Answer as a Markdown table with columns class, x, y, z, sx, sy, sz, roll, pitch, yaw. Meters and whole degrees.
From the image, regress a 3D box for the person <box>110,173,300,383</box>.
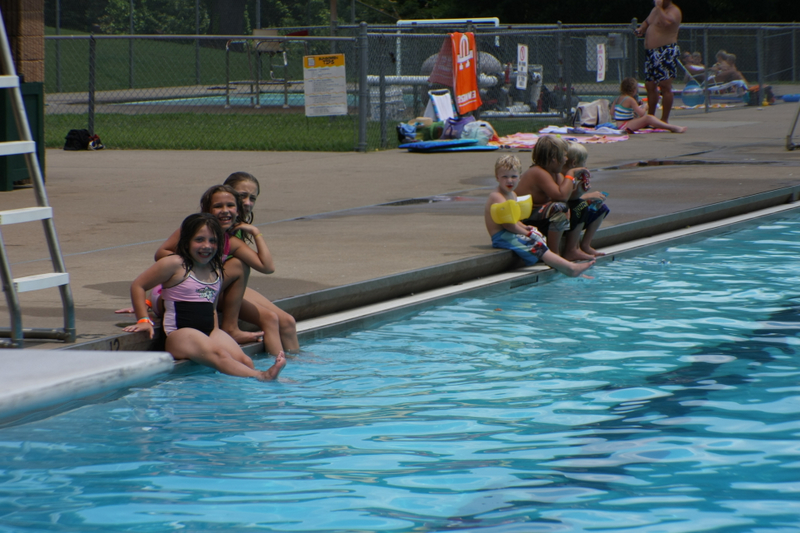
| class | x | y | z | sx | sy | sz | roll | pitch | yaw |
| --- | --- | --- | --- | --- | --- | --- | --- | --- | --- |
| person | -1.149 | 0.039 | 5.768 | 1.526 | 0.948 | 1.025 | 22 | 20 | 27 |

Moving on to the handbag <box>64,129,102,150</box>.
| class | x | y | z | sx | sy | sz | roll | pitch | yaw |
| --- | --- | --- | --- | --- | --- | --- | --- | --- | --- |
| handbag | -5.661 | -2.247 | 15.856 | 0.498 | 0.211 | 0.556 | 0 | 9 | 6 |

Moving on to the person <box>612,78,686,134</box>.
| class | x | y | z | sx | sy | sz | roll | pitch | yaw |
| --- | --- | --- | --- | --- | --- | --- | --- | --- | --- |
| person | 4.847 | -3.213 | 17.917 | 1.730 | 0.998 | 1.184 | -9 | 23 | -40 |

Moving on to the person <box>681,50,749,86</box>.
| class | x | y | z | sx | sy | sz | roll | pitch | yaw |
| --- | --- | --- | --- | --- | --- | --- | --- | --- | --- |
| person | 8.051 | -5.112 | 22.993 | 1.324 | 0.873 | 2.464 | 4 | 12 | 28 |

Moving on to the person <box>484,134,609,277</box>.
| class | x | y | z | sx | sy | sz | roll | pitch | yaw |
| --- | --- | --- | --- | --- | --- | --- | --- | --- | --- |
| person | 1.216 | -0.517 | 7.562 | 0.853 | 1.161 | 0.830 | 2 | 14 | 20 |

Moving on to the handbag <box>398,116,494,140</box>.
| class | x | y | z | sx | sy | sz | roll | pitch | yaw |
| --- | --- | --- | --- | --- | --- | --- | --- | --- | --- |
| handbag | 0.817 | -2.487 | 16.120 | 1.350 | 0.368 | 1.492 | -1 | 1 | -1 |
